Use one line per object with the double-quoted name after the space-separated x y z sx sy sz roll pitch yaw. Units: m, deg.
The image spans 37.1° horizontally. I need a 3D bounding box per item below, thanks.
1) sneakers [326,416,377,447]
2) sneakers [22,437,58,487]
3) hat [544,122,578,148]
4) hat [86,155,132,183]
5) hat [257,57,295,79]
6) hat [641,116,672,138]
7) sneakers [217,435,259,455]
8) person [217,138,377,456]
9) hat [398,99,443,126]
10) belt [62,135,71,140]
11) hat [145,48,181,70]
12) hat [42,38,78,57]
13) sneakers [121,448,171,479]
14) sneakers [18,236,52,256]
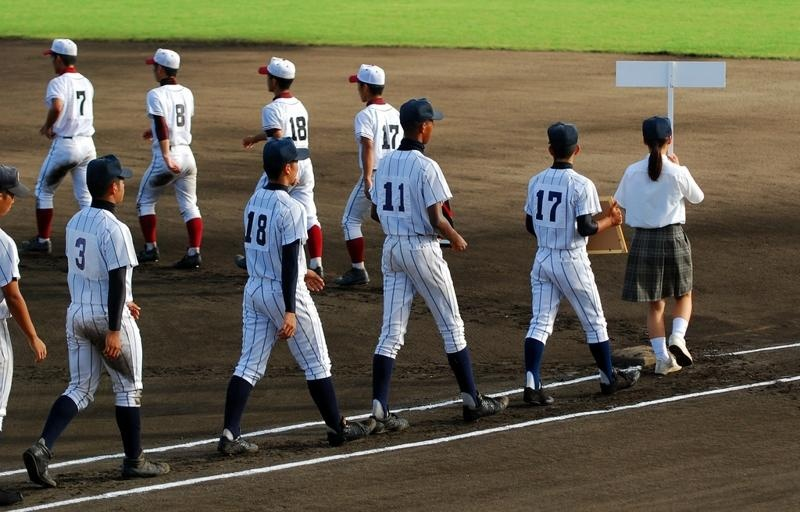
-0.549 1.963 13.537 0.625 0.233 0.230 -14 21 -35 "sneakers"
-3.842 2.224 12.641 0.215 0.516 0.254 11 19 37 "sneakers"
1.956 -1.443 14.126 0.312 0.194 0.345 5 37 5 "hat"
-3.179 -0.961 12.914 0.464 0.251 0.335 -3 14 -14 "hat"
-1.730 -2.655 16.942 0.366 0.298 0.231 2 15 9 "hat"
3.264 -1.611 14.869 0.473 0.254 0.571 1 21 14 "hat"
-1.824 2.105 13.284 0.518 0.178 0.176 -1 12 -16 "sneakers"
-1.348 0.444 13.312 1.455 3.416 1.098 -2 16 -4 "person"
0.299 -1.679 13.870 0.521 0.237 0.331 -26 37 -32 "hat"
-5.082 -1.807 18.098 0.147 0.041 0.020 -5 16 -22 "belt"
-3.624 -2.986 18.115 0.441 0.311 0.638 -3 13 -12 "hat"
-5.150 -3.155 18.070 0.360 0.249 0.269 -5 15 -17 "hat"
-2.772 2.270 12.907 0.630 0.227 0.207 -2 7 -13 "sneakers"
-5.535 -0.138 18.376 0.670 0.243 0.208 5 7 5 "sneakers"
